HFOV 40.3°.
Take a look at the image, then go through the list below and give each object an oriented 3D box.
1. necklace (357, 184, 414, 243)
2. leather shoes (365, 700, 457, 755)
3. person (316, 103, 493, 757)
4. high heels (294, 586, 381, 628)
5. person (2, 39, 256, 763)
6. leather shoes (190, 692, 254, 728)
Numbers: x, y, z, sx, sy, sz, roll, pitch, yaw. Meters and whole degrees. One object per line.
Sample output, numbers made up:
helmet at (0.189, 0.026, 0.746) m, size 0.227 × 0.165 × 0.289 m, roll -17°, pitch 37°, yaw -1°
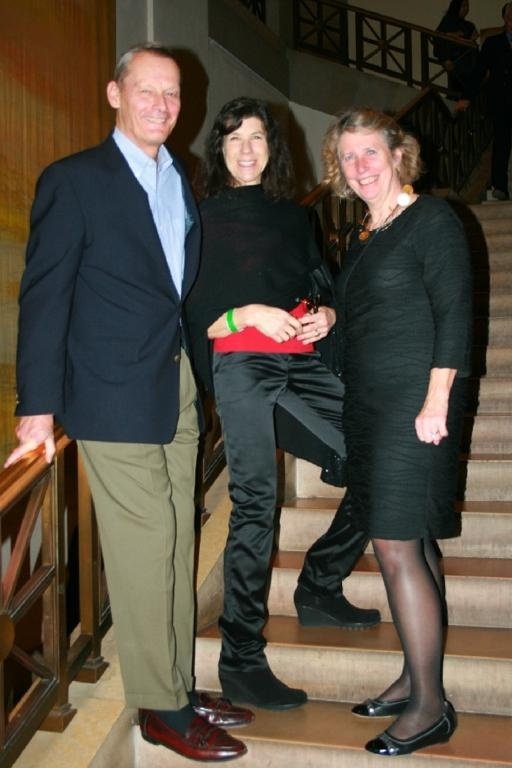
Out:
necklace at (0.383, -0.463, 1.832) m, size 0.173 × 0.044 × 0.155 m, roll -24°, pitch -18°, yaw -26°
leather shoes at (0.406, 0.852, 1.785) m, size 0.258 × 0.101 × 0.094 m, roll -1°, pitch -4°, yaw -19°
person at (0.407, 0.103, 1.858) m, size 0.421 × 1.642 × 0.677 m, roll -5°, pitch 13°, yaw 5°
high heels at (0.252, 0.748, 2.396) m, size 0.320 × 0.199 × 0.110 m, roll -1°, pitch -4°, yaw 1°
person at (-0.342, 0.086, 1.825) m, size 0.490 × 1.837 × 0.555 m, roll -6°, pitch 13°, yaw -2°
leather shoes at (-0.095, 0.874, 1.905) m, size 0.204 × 0.069 × 0.074 m, roll 7°, pitch 16°, yaw 2°
